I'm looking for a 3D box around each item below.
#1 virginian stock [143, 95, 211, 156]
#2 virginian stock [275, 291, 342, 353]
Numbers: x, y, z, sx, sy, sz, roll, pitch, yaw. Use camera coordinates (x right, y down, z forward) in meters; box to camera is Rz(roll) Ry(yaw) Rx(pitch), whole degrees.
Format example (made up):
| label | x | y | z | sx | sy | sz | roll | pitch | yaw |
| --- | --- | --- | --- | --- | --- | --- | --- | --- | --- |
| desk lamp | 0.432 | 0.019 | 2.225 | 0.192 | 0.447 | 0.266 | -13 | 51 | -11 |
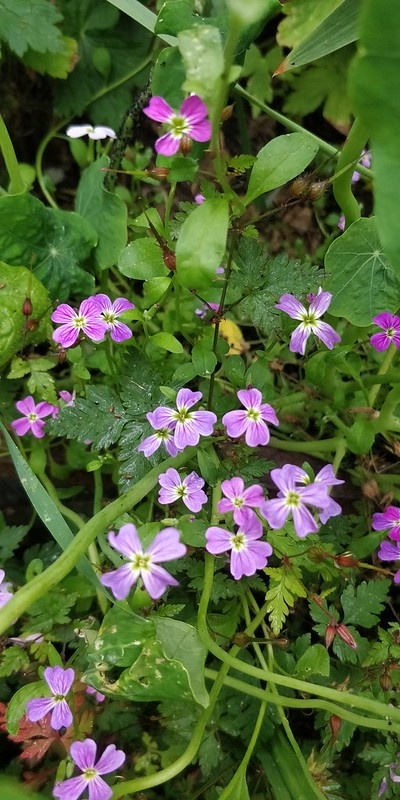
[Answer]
| label | x | y | z | sx | sy | sz | roll | pitch | yaw |
| --- | --- | --- | --- | --- | --- | --- | --- | --- | --- |
| virginian stock | -0.030 | -0.428 | 0.919 | 0.112 | 0.047 | 0.114 | 8 | 8 | 22 |
| virginian stock | 0.202 | -0.165 | 1.176 | 0.122 | 0.113 | 0.115 | 1 | 44 | -5 |
